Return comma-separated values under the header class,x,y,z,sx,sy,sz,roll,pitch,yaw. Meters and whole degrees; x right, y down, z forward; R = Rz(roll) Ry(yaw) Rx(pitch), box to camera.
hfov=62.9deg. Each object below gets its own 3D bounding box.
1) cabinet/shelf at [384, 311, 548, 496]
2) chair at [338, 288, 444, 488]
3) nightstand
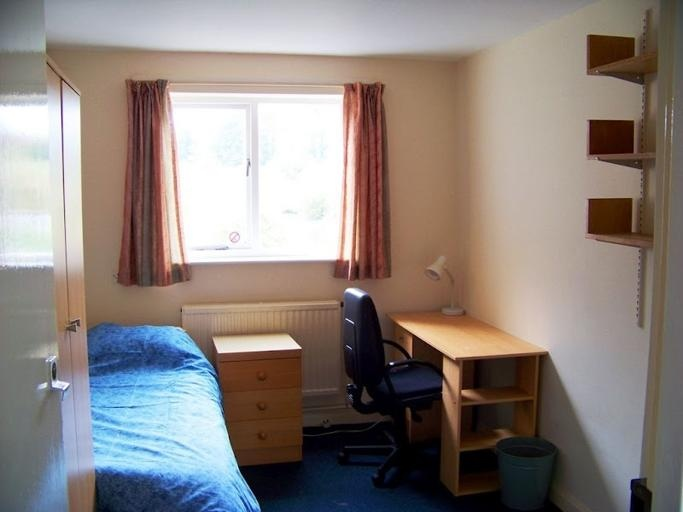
class,x,y,z,sx,sy,sz,roll,pitch,yaw
cabinet/shelf,0.786,0.895,3.552,0.589,0.858,0.849,-3,10,-16
chair,0.360,0.785,3.537,0.731,1.188,0.690,-5,7,-22
nightstand,-0.543,0.921,3.742,0.533,0.770,0.517,-3,13,-17
